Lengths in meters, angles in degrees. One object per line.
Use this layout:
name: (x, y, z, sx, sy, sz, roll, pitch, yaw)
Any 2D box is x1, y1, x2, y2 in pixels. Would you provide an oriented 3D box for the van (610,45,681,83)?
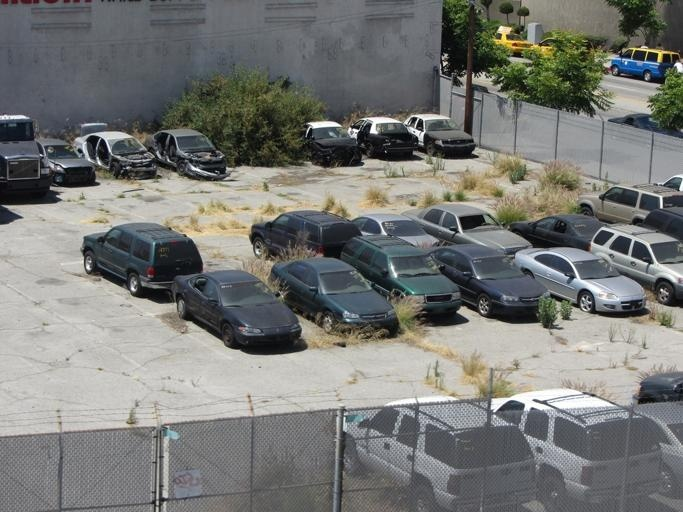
van: (18.493, -11.488, 67.614, 0.960, 1.940, 4.843, -5, 15, -25)

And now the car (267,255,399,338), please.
car: (-0.260, 0.951, 29.676, 1.633, 1.067, 3.336, -8, 22, -34)

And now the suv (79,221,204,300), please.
suv: (-5.679, -0.058, 31.388, 1.777, 1.313, 3.319, -11, 25, -44)

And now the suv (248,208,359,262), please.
suv: (-1.245, -0.689, 33.507, 1.509, 1.049, 2.656, -9, 20, -43)

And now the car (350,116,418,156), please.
car: (1.627, -5.244, 49.219, 1.517, 0.965, 2.976, -7, 22, -23)

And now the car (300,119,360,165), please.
car: (-0.551, -4.695, 47.564, 1.417, 0.907, 2.818, -6, 15, -19)

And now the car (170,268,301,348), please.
car: (-2.630, 1.334, 28.544, 1.575, 1.505, 3.269, -11, 19, -42)
